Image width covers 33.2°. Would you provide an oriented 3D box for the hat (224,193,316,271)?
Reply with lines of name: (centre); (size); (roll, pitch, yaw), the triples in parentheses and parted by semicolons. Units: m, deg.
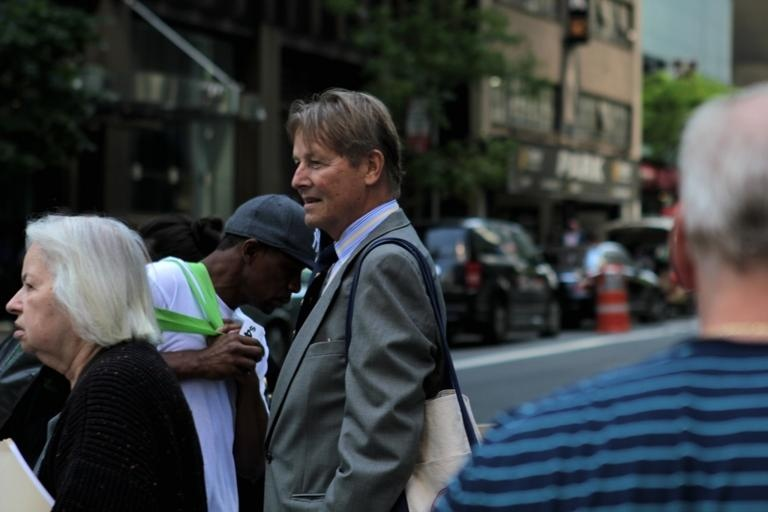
hat: (-0.456, -0.135, 5.369); (0.364, 0.221, 0.259); (21, 2, -15)
